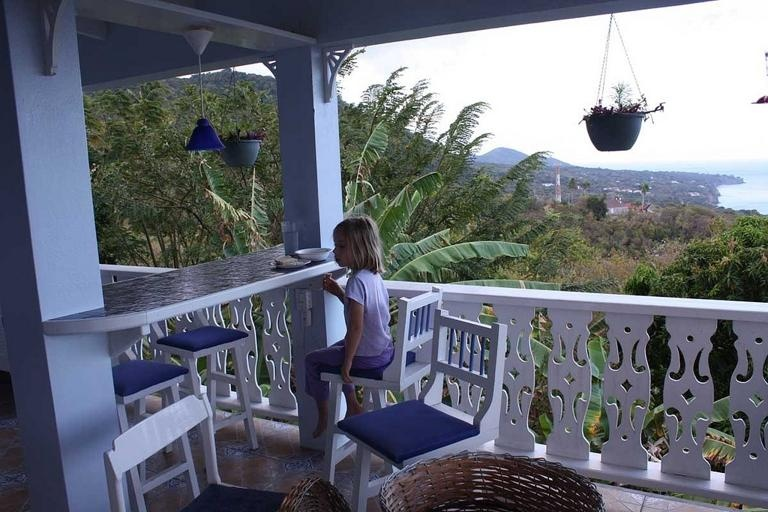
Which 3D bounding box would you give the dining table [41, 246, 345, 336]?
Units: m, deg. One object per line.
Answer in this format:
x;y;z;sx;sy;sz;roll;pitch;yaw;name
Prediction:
-1.372;0.220;3.781;0.962;0.297;1.835;9;14;39;dining table

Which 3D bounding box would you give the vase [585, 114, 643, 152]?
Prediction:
1.744;-0.884;4.088;0.306;0.213;0.311;4;7;41;vase

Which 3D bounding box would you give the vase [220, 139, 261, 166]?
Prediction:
-1.231;-0.875;4.693;0.248;0.167;0.249;0;0;-10;vase
